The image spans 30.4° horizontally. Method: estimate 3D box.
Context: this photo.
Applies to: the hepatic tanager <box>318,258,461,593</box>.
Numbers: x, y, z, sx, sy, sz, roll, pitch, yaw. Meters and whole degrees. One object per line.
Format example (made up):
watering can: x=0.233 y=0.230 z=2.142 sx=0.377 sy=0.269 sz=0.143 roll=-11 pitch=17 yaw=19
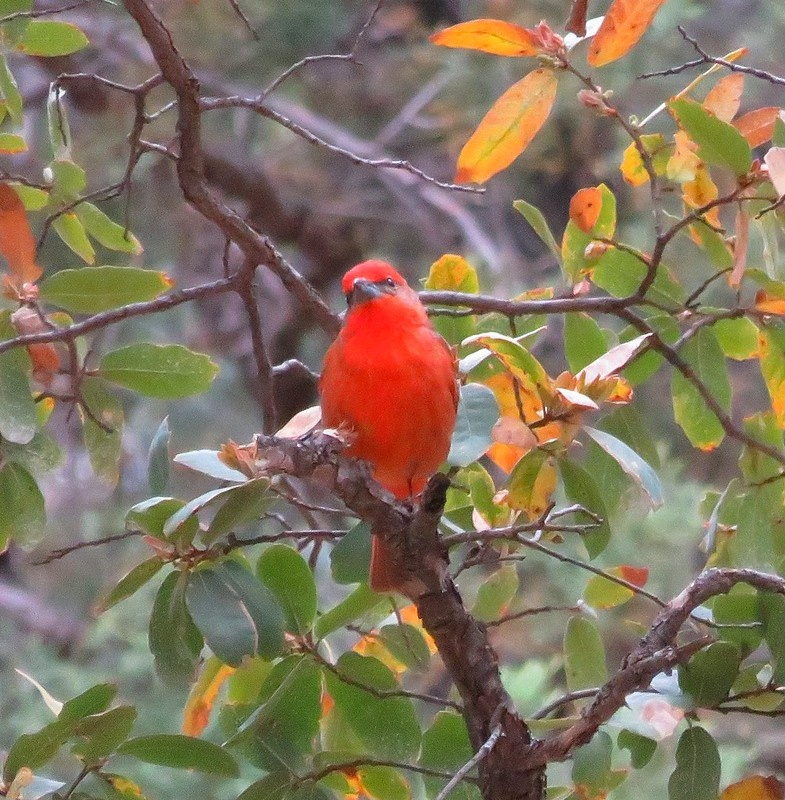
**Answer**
hepatic tanager: x=0.014 y=0.096 z=5.469 sx=0.434 sy=0.518 sz=1.232 roll=-1 pitch=-78 yaw=1
